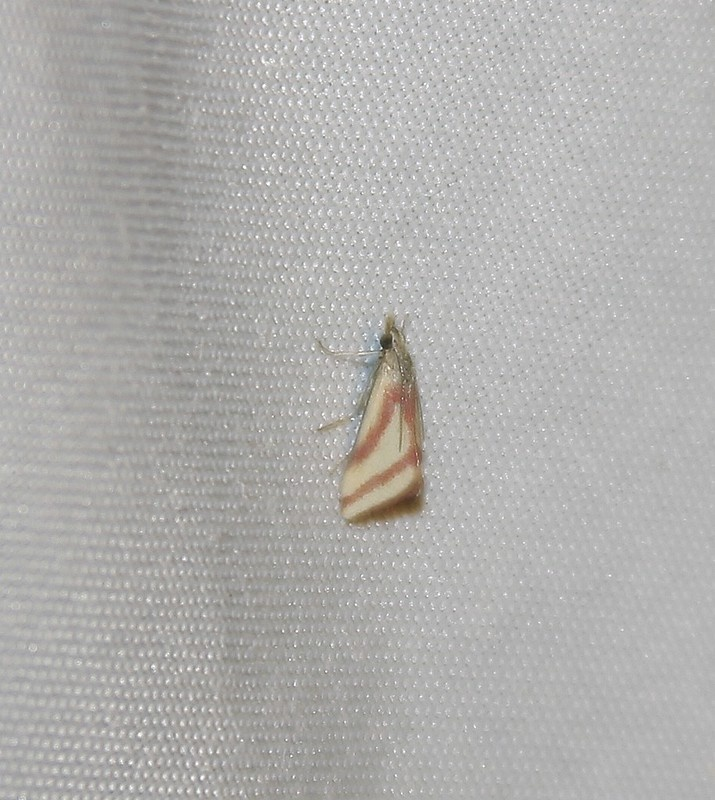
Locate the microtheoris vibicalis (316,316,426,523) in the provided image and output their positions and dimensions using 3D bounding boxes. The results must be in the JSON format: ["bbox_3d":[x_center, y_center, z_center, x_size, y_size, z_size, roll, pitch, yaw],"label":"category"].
[{"bbox_3d":[0.019,0.014,0.753,0.094,0.042,0.171,-8,52,18],"label":"microtheoris vibicalis"}]
